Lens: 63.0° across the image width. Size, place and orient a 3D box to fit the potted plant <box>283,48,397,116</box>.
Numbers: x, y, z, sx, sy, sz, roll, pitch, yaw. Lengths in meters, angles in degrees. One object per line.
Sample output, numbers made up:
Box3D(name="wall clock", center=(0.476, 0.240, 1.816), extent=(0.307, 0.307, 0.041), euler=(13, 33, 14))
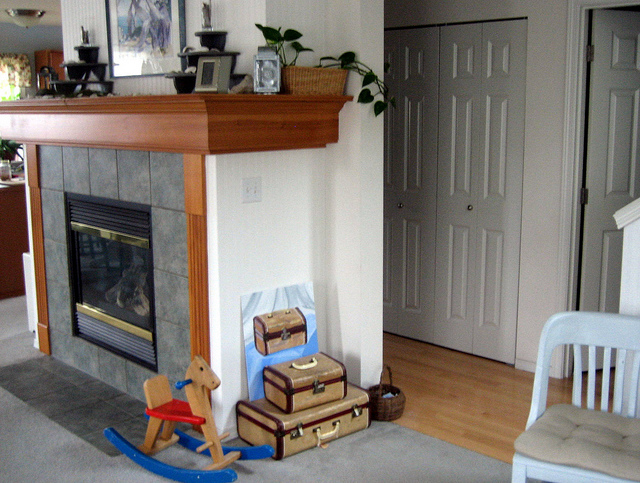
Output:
Box3D(name="potted plant", center=(0.080, -0.938, 3.038), extent=(0.556, 0.242, 0.368), euler=(-6, 15, -36))

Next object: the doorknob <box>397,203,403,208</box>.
Box3D(name="doorknob", center=(0.642, -0.290, 4.163), extent=(0.030, 0.020, 0.038), euler=(-9, 12, 7))

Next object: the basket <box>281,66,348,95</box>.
Box3D(name="basket", center=(-0.048, -0.867, 2.963), extent=(0.277, 0.117, 0.204), euler=(-4, 9, -31))

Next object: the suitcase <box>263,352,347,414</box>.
Box3D(name="suitcase", center=(-0.087, 0.794, 2.973), extent=(0.400, 0.252, 0.315), euler=(-4, 9, -30))

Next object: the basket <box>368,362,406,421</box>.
Box3D(name="basket", center=(0.397, 0.901, 3.195), extent=(0.229, 0.339, 0.243), euler=(4, 10, 34))

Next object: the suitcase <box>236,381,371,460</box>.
Box3D(name="suitcase", center=(-0.126, 0.972, 2.915), extent=(0.435, 0.168, 0.349), euler=(-8, 10, -40))
